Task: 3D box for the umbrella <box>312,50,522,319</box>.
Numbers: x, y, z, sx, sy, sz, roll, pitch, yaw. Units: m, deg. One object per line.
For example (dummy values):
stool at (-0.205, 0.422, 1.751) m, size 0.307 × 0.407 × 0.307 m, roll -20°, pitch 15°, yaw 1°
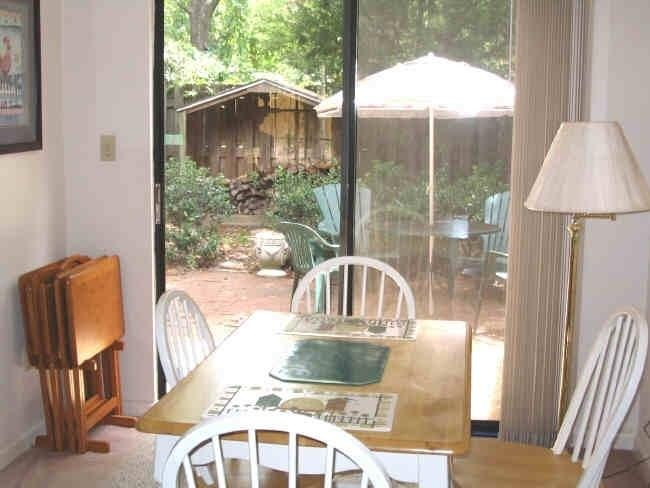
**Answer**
umbrella at (0.602, -0.571, 3.531) m, size 0.832 × 0.994 × 0.863 m, roll 1°, pitch 3°, yaw 11°
